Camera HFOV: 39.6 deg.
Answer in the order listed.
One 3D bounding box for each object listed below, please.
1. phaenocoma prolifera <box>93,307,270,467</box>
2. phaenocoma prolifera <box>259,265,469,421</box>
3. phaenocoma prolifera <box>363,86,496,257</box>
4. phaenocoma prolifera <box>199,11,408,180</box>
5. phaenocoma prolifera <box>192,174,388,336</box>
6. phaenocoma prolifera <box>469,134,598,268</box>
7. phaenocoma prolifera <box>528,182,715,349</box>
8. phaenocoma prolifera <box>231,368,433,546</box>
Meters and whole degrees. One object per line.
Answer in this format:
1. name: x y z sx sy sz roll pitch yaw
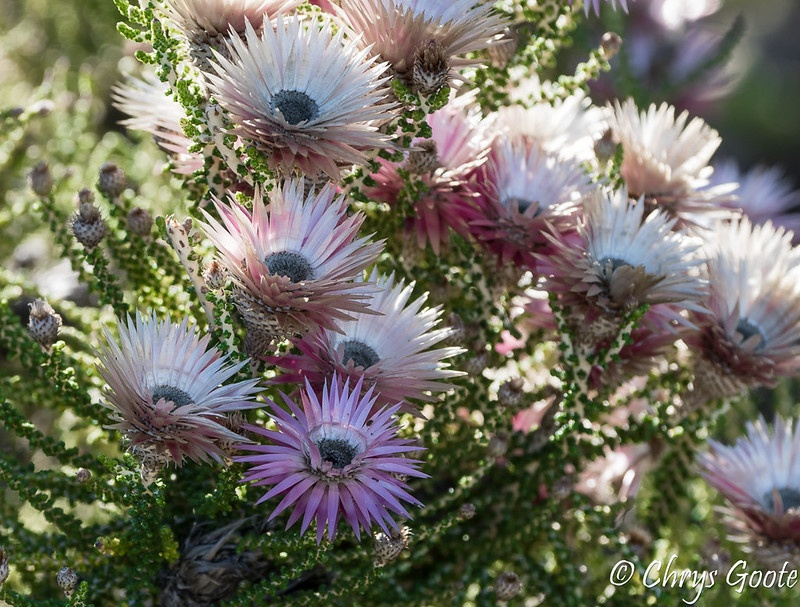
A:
1. phaenocoma prolifera: -0.353 0.146 1.560 0.192 0.192 0.111 1 99 -41
2. phaenocoma prolifera: -0.027 0.072 1.604 0.224 0.107 0.226 38 53 8
3. phaenocoma prolifera: 0.066 -0.211 1.763 0.227 0.148 0.241 -20 49 26
4. phaenocoma prolifera: -0.149 -0.275 1.613 0.239 0.122 0.247 -20 82 -27
5. phaenocoma prolifera: -0.173 -0.003 1.571 0.188 0.190 0.149 17 79 28
6. phaenocoma prolifera: 0.195 -0.161 1.726 0.183 0.111 0.212 16 69 1
7. phaenocoma prolifera: 0.316 -0.051 1.729 0.224 0.215 0.239 26 43 -27
8. phaenocoma prolifera: -0.086 0.218 1.568 0.288 0.304 0.140 -3 104 -25
